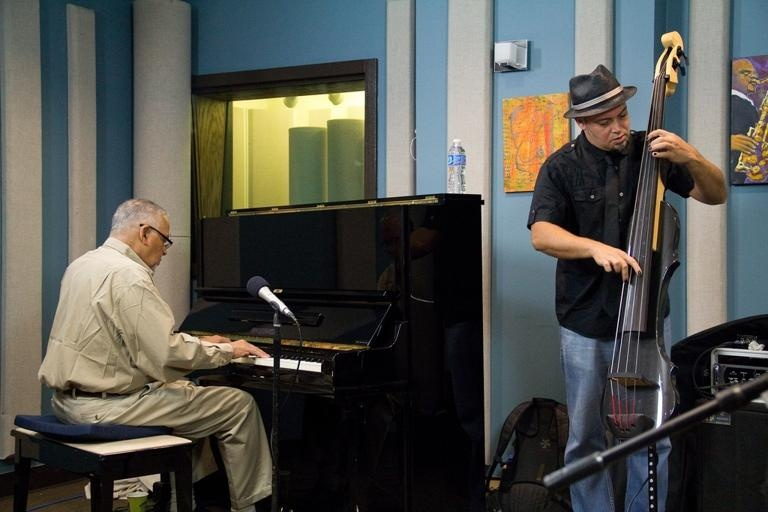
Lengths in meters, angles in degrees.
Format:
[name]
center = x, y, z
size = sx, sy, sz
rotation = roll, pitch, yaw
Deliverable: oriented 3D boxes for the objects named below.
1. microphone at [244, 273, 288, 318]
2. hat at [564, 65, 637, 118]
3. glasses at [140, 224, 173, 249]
[microphone]
center = -0.562, 0.216, 3.789
size = 0.094, 0.095, 0.362
rotation = -34, 48, -24
[hat]
center = 1.047, -0.764, 3.764
size = 0.259, 0.114, 0.290
rotation = -35, 16, -32
[glasses]
center = -1.267, -0.095, 4.296
size = 0.137, 0.041, 0.135
rotation = 38, -6, 23
